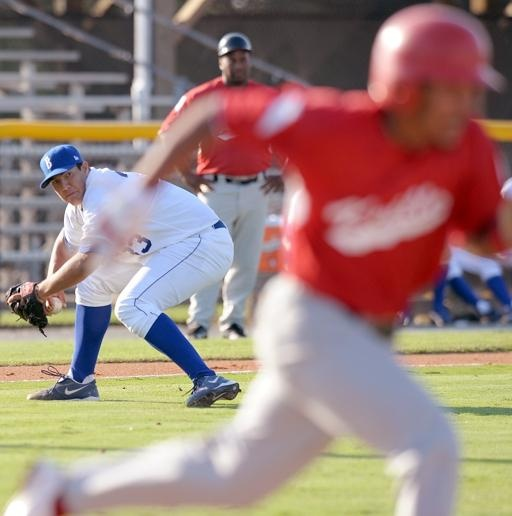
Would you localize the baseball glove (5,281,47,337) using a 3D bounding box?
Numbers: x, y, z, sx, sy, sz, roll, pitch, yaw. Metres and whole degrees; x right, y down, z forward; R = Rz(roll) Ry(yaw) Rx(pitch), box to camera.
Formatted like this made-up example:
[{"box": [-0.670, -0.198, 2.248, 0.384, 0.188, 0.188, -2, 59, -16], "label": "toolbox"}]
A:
[{"box": [-0.854, 0.195, 4.486, 0.139, 0.181, 0.075, -40, -8, 37], "label": "baseball glove"}]

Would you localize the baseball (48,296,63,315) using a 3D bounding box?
[{"box": [-0.809, 0.191, 4.618, 0.061, 0.040, 0.064, -1, 0, -8], "label": "baseball"}]

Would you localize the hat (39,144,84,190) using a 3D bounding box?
[{"box": [-0.791, -0.387, 4.782, 0.146, 0.115, 0.206, -22, 10, 39], "label": "hat"}]

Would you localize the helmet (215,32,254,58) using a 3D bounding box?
[{"box": [-0.129, -1.249, 6.630, 0.181, 0.110, 0.230, -7, -4, 1], "label": "helmet"}]

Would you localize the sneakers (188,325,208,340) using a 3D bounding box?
[{"box": [-0.366, 0.454, 6.983, 0.053, 0.059, 0.154, 0, -9, 36], "label": "sneakers"}]

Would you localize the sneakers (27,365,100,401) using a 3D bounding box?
[{"box": [-0.853, 0.544, 4.965, 0.376, 0.160, 0.118, 1, 1, 6], "label": "sneakers"}]

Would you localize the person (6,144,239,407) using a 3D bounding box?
[{"box": [-0.508, 0.093, 4.830, 1.348, 1.195, 0.740, -2, -17, 0], "label": "person"}]

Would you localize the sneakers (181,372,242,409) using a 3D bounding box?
[{"box": [-0.177, 0.541, 4.759, 0.266, 0.124, 0.092, -23, -16, -20], "label": "sneakers"}]

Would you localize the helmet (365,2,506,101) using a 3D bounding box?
[{"box": [0.444, -0.498, 2.895, 0.314, 0.209, 0.265, -1, 3, -3], "label": "helmet"}]
